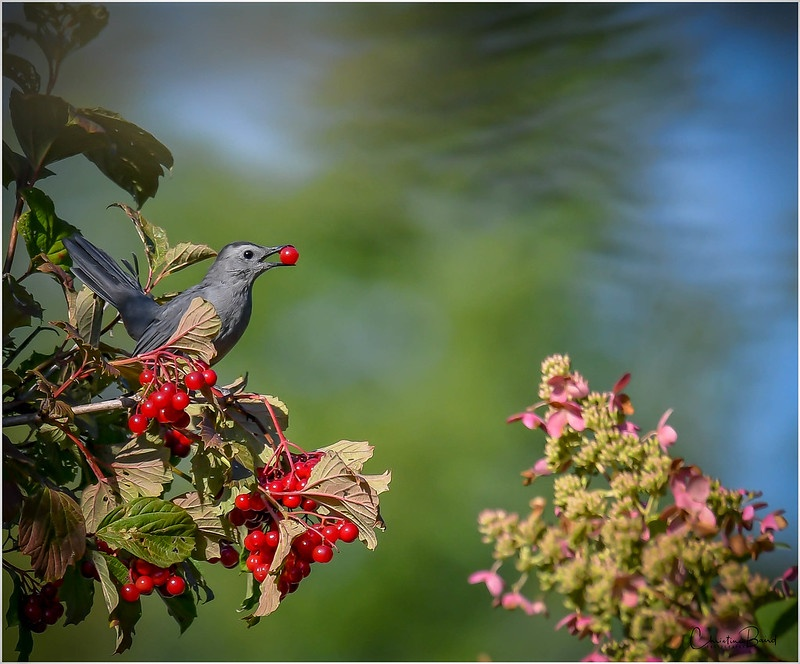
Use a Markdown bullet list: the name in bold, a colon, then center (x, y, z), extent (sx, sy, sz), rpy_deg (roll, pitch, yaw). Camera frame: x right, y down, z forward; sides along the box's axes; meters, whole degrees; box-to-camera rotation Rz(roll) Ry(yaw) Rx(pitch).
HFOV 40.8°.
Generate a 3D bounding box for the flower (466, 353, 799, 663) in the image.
- **flower**: center (0.529, 0.439, 2.418), extent (0.712, 0.501, 0.454), rpy_deg (32, -58, -11)

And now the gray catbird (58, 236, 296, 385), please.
- **gray catbird**: center (-0.593, -0.041, 2.932), extent (0.596, 0.228, 0.435), rpy_deg (2, -84, -4)
